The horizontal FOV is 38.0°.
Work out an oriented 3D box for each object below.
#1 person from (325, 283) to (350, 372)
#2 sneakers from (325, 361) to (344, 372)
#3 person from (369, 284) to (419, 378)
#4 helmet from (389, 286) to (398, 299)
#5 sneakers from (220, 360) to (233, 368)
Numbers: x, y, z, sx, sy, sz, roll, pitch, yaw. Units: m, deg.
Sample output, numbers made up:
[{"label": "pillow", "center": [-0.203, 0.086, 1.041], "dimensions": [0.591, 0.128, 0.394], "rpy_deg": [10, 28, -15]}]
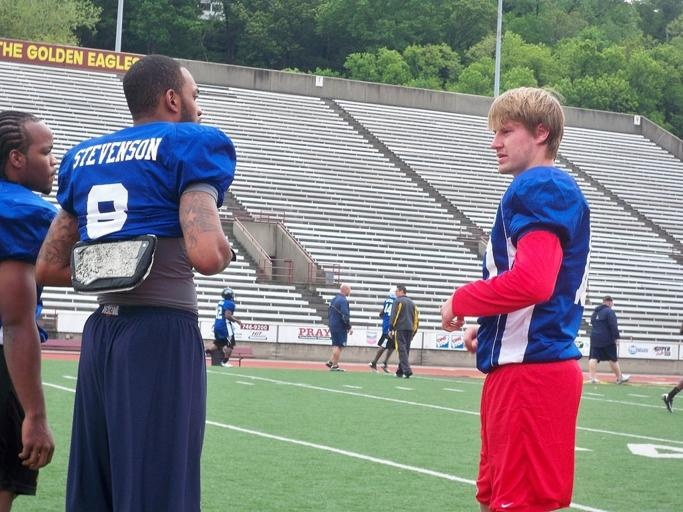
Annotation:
[{"label": "person", "center": [-0.032, 1.314, 18.525], "dimensions": [0.416, 1.409, 0.672], "rpy_deg": [4, -1, 1]}, {"label": "sneakers", "center": [-0.122, 2.046, 18.504], "dimensions": [0.371, 0.174, 0.126], "rpy_deg": [4, 4, -2]}, {"label": "person", "center": [1.011, 1.328, 17.954], "dimensions": [0.681, 1.396, 1.531], "rpy_deg": [4, -1, 0]}, {"label": "helmet", "center": [0.990, 0.688, 18.897], "dimensions": [0.179, 0.229, 0.227], "rpy_deg": [10, 33, 12]}, {"label": "sneakers", "center": [-2.075, 1.953, 17.928], "dimensions": [0.086, 0.095, 0.217], "rpy_deg": [5, -11, -25]}]
